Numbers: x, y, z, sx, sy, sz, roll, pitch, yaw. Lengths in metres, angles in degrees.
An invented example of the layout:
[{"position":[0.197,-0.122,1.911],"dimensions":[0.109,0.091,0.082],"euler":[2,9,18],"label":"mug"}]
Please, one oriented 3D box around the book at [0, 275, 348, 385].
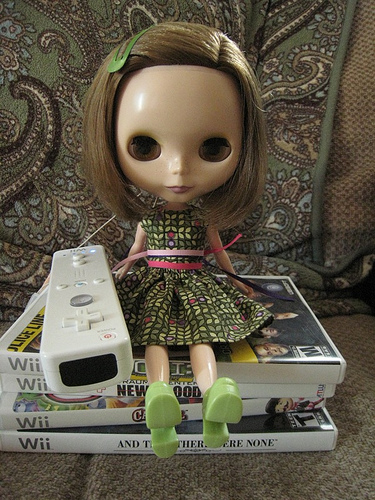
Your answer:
[{"position":[-0.015,0.091,0.537],"dimensions":[0.378,0.084,0.262],"euler":[1,4,-3],"label":"book"}]
